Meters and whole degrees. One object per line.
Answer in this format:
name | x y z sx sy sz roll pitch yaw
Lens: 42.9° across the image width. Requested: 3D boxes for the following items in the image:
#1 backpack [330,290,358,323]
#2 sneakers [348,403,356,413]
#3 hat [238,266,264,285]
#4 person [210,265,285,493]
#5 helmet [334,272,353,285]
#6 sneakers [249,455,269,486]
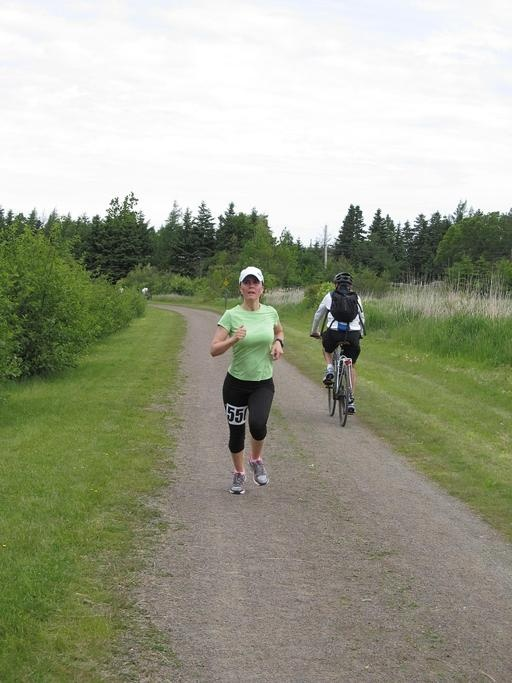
backpack | 1.280 -0.506 9.659 0.481 0.582 0.423 2 -5 -6
sneakers | 1.374 0.952 9.212 0.076 0.089 0.216 0 -17 6
hat | -0.039 -0.566 5.559 0.138 0.095 0.189 0 -7 0
person | -0.086 0.387 5.803 0.599 2.076 0.806 2 5 2
helmet | 1.308 -0.939 9.719 0.209 0.221 0.243 7 18 5
sneakers | 0.036 1.206 6.123 0.135 0.308 0.145 -13 -13 -36
